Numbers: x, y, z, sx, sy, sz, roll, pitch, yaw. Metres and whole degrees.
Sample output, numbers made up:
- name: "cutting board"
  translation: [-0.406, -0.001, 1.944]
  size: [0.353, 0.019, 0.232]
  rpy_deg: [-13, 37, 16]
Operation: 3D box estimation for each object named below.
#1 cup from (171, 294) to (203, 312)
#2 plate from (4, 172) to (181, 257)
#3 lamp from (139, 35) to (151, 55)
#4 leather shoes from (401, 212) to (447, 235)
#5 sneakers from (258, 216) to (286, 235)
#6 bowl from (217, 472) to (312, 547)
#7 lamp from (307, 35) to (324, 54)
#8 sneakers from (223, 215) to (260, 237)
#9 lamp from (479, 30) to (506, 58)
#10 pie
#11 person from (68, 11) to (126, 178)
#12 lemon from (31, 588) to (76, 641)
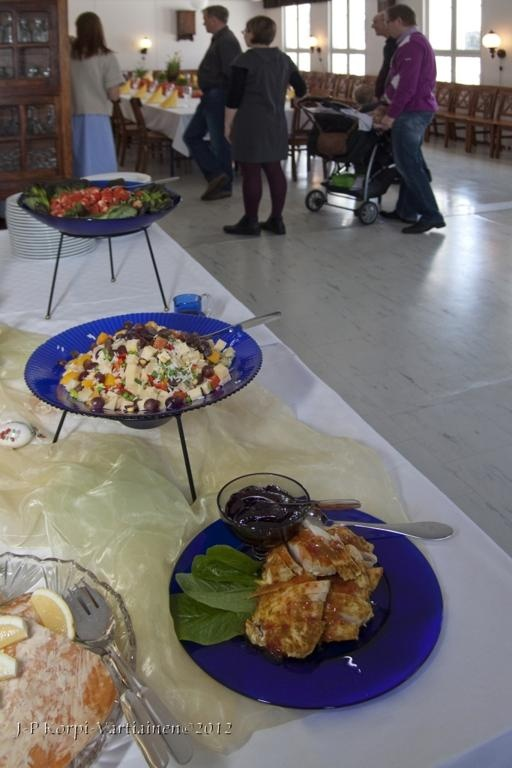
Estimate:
- name: "cup"
  translation: [-0.210, -0.234, 1.756]
  size: [0.058, 0.051, 0.075]
  rpy_deg: [-1, -2, 11]
- name: "plate"
  translation: [-0.626, -0.556, 2.047]
  size: [0.510, 0.197, 0.510]
  rpy_deg: [4, 30, 1]
- name: "lamp"
  translation: [-2.296, -7.100, 12.348]
  size: [0.289, 0.335, 0.133]
  rpy_deg: [-11, 20, -37]
- name: "leather shoes"
  translation: [1.216, -1.142, 4.288]
  size: [0.366, 0.155, 0.134]
  rpy_deg: [-7, 30, 9]
- name: "sneakers"
  translation: [0.114, -1.186, 4.361]
  size: [0.094, 0.111, 0.278]
  rpy_deg: [-11, 28, -20]
- name: "bowl"
  translation: [0.012, 0.156, 0.776]
  size: [0.099, 0.045, 0.098]
  rpy_deg: [1, 9, 0]
- name: "lamp"
  translation: [1.156, -6.574, 11.384]
  size: [0.218, 0.313, 0.400]
  rpy_deg: [-1, 16, -9]
- name: "sneakers"
  translation: [-0.078, -1.166, 4.309]
  size: [0.341, 0.145, 0.115]
  rpy_deg: [14, 35, 23]
- name: "lamp"
  translation: [3.167, -4.508, 7.783]
  size: [0.267, 0.358, 0.278]
  rpy_deg: [-2, 16, -13]
- name: "pie"
  translation: [0.066, 0.223, 0.662]
  size: [0.127, 0.059, 0.205]
  rpy_deg: [15, 22, 15]
- name: "person"
  translation: [-1.064, -1.908, 3.935]
  size: [0.351, 0.986, 0.592]
  rpy_deg: [-3, 17, -17]
- name: "lemon"
  translation: [-0.204, 0.234, 0.605]
  size: [0.033, 0.014, 0.069]
  rpy_deg: [-29, 48, -28]
